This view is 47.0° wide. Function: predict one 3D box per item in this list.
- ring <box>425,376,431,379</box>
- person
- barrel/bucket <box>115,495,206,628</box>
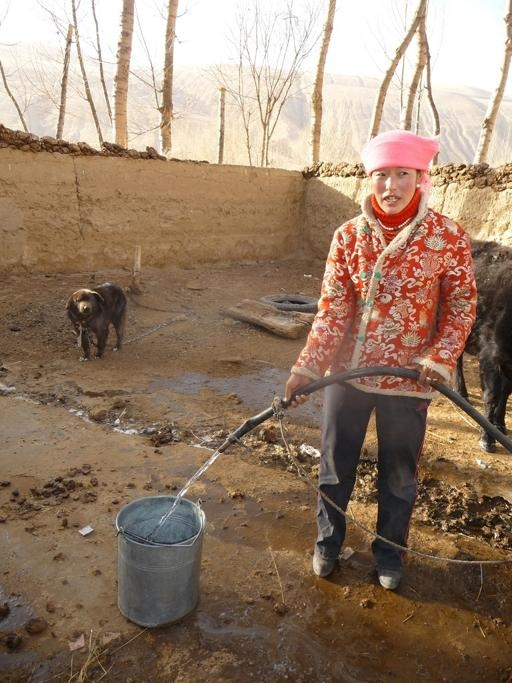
[{"bbox_3d":[0.635,0.131,2.184,0.015,0.013,0.012,3,1,-3],"label":"ring"},{"bbox_3d":[0.505,0.175,2.460,0.672,2.007,0.436,8,16,16],"label":"person"},{"bbox_3d":[-0.399,0.912,2.434,0.356,0.516,0.315,1,14,-8],"label":"barrel/bucket"}]
